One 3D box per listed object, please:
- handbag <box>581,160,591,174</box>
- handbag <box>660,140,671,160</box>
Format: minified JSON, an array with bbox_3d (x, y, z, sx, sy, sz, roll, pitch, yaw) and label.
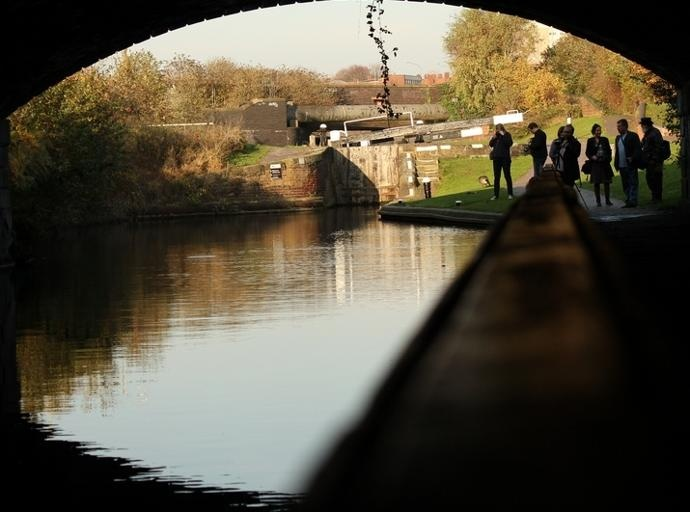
[{"bbox_3d":[4.682,-1.753,15.595,0.064,0.267,0.281,4,4,25],"label":"handbag"},{"bbox_3d":[5.632,-1.848,13.895,0.106,0.356,0.264,3,6,-3],"label":"handbag"}]
